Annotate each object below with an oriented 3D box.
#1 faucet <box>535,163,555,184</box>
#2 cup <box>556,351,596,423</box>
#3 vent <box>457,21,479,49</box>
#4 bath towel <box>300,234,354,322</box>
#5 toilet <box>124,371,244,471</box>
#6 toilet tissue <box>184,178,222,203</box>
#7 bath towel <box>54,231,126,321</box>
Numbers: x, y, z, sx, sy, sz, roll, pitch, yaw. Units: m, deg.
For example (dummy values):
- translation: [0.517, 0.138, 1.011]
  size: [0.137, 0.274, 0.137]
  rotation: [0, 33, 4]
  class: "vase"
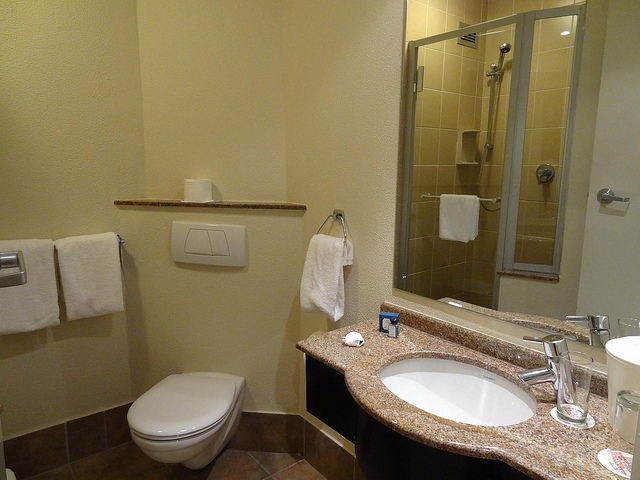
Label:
- translation: [0.834, -0.245, 1.758]
  size: [0.036, 0.080, 0.072]
  rotation: [-4, 4, -34]
  class: "faucet"
- translation: [0.854, 0.503, 1.602]
  size: [0.128, 0.222, 0.134]
  rotation: [1, -8, 0]
  class: "cup"
- translation: [0.589, -0.806, 1.886]
  size: [0.027, 0.105, 0.106]
  rotation: [-21, 35, -34]
  class: "vent"
- translation: [0.009, 0.179, 2.294]
  size: [0.213, 0.384, 0.116]
  rotation: [7, 13, 38]
  class: "bath towel"
- translation: [-0.653, 0.846, 2.439]
  size: [0.431, 0.390, 0.578]
  rotation: [2, 7, 15]
  class: "toilet"
- translation: [-0.669, -0.263, 2.615]
  size: [0.133, 0.094, 0.137]
  rotation: [0, 18, -14]
  class: "toilet tissue"
- translation: [-1.230, 0.201, 2.541]
  size: [0.161, 0.462, 0.314]
  rotation: [15, 13, 41]
  class: "bath towel"
